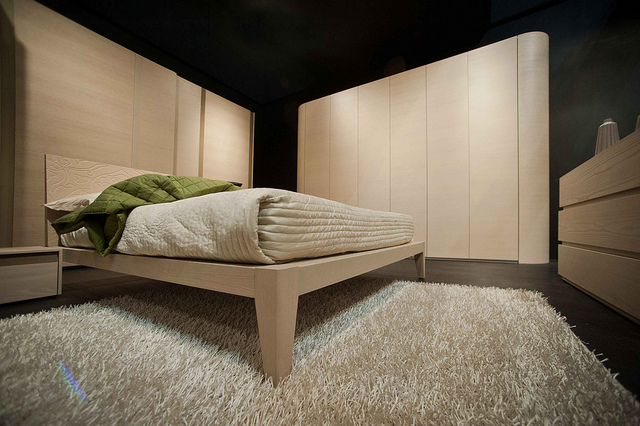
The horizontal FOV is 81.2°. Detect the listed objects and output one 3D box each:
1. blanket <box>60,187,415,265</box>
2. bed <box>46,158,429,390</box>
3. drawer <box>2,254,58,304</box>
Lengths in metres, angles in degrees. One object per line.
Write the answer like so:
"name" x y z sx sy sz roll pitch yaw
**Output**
"blanket" -0.459 0.083 2.730 2.133 0.490 0.886 -1 2 -1
"bed" -0.734 0.336 2.935 2.456 1.353 1.235 -1 3 18
"drawer" -2.360 0.464 3.092 0.503 0.485 0.288 2 -3 -44
